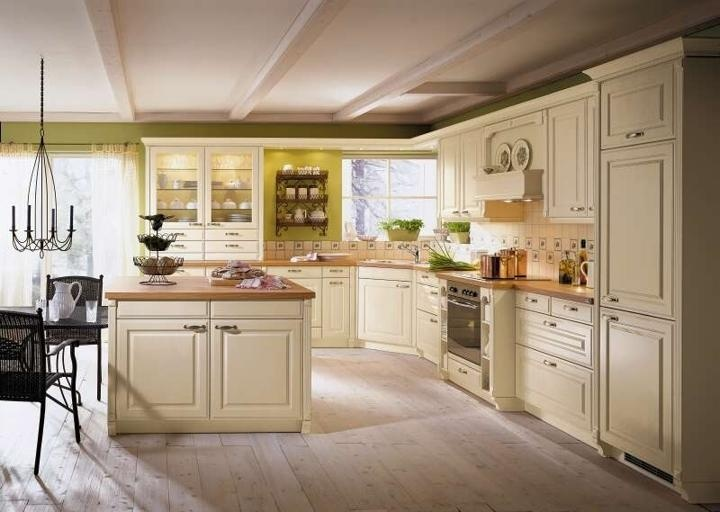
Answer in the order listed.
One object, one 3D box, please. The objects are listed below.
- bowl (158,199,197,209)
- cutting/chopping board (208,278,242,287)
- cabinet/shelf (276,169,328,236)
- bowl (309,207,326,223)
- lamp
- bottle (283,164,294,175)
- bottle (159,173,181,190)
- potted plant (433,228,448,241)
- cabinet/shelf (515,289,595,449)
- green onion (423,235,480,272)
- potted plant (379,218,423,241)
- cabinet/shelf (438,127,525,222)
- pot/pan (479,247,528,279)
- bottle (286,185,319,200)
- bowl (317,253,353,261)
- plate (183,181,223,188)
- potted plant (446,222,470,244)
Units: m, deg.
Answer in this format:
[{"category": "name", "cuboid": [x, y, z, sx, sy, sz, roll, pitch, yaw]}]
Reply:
[{"category": "bowl", "cuboid": [-2.448, -0.703, 7.188, 0.490, 0.143, 0.074, 1, 6, 0]}, {"category": "cutting/chopping board", "cuboid": [-1.174, 0.230, 4.669, 0.258, 0.051, 0.218, 0, 5, -9]}, {"category": "cabinet/shelf", "cuboid": [-0.869, -0.758, 7.711, 0.833, 0.884, 0.301, -2, 6, -23]}, {"category": "bowl", "cuboid": [-0.601, -0.576, 7.623, 0.227, 0.126, 0.208, 0, 1, 0]}, {"category": "lamp", "cuboid": [-3.913, -1.222, 6.571, 0.886, 2.236, 0.802, 1, 12, -18]}, {"category": "bottle", "cuboid": [-0.998, -1.213, 7.554, 0.162, 0.121, 0.149, -1, 1, 0]}, {"category": "bottle", "cuboid": [-2.546, -0.999, 7.176, 0.292, 0.222, 0.061, -1, 7, -19]}, {"category": "potted plant", "cuboid": [1.084, -0.285, 7.155, 0.180, 0.101, 0.163, -1, -1, 16]}, {"category": "cabinet/shelf", "cuboid": [1.631, 0.866, 4.452, 0.729, 0.974, 1.174, 0, 1, -17]}, {"category": "green onion", "cuboid": [1.102, -0.011, 6.456, 0.478, 0.351, 0.833, 0, 3, -22]}, {"category": "potted plant", "cuboid": [0.603, -0.313, 7.534, 0.493, 0.204, 0.361, 0, -3, -5]}, {"category": "cabinet/shelf", "cuboid": [1.367, -0.898, 5.870, 0.581, 1.094, 1.301, 3, -1, -12]}, {"category": "pot/pan", "cuboid": [1.425, 0.078, 5.335, 0.413, 0.237, 0.311, 1, -2, -20]}, {"category": "bottle", "cuboid": [-0.815, -0.888, 7.604, 0.445, 0.178, 0.103, 0, 7, -12]}, {"category": "bowl", "cuboid": [-0.353, 0.015, 7.370, 0.418, 0.087, 0.468, 0, 5, -11]}, {"category": "plate", "cuboid": [-2.113, -0.960, 7.235, 0.534, 0.103, 0.061, 0, 6, -11]}, {"category": "potted plant", "cuboid": [1.275, -0.299, 7.008, 0.285, 0.199, 0.300, 3, -5, -38]}]
